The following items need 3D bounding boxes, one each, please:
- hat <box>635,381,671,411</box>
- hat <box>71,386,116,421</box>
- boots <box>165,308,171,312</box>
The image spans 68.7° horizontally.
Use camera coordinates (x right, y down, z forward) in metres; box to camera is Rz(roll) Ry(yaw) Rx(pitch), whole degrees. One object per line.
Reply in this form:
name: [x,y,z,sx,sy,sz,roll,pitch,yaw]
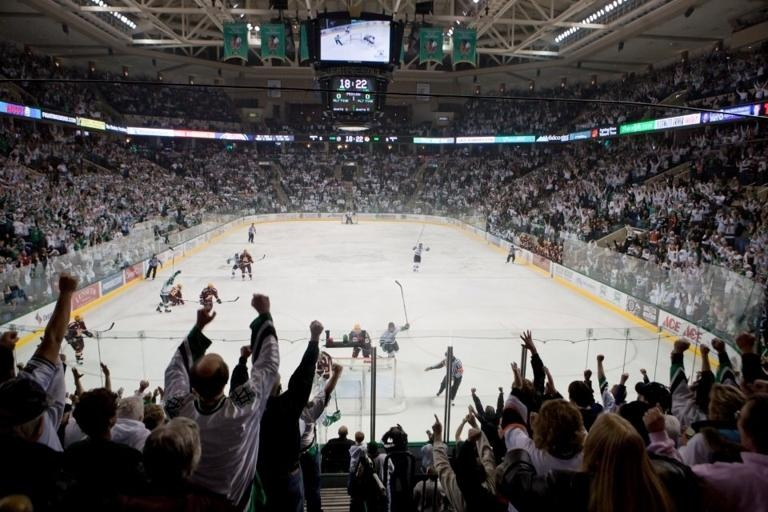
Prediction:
hat: [3.969,2.019,8.258,0.455,0.453,1.211,-6,-21,25]
hat: [-3.361,1.730,6.585,0.439,0.372,0.188,13,-21,-26]
boots: [-7.050,1.752,18.330,0.099,0.119,0.294,4,-6,-22]
